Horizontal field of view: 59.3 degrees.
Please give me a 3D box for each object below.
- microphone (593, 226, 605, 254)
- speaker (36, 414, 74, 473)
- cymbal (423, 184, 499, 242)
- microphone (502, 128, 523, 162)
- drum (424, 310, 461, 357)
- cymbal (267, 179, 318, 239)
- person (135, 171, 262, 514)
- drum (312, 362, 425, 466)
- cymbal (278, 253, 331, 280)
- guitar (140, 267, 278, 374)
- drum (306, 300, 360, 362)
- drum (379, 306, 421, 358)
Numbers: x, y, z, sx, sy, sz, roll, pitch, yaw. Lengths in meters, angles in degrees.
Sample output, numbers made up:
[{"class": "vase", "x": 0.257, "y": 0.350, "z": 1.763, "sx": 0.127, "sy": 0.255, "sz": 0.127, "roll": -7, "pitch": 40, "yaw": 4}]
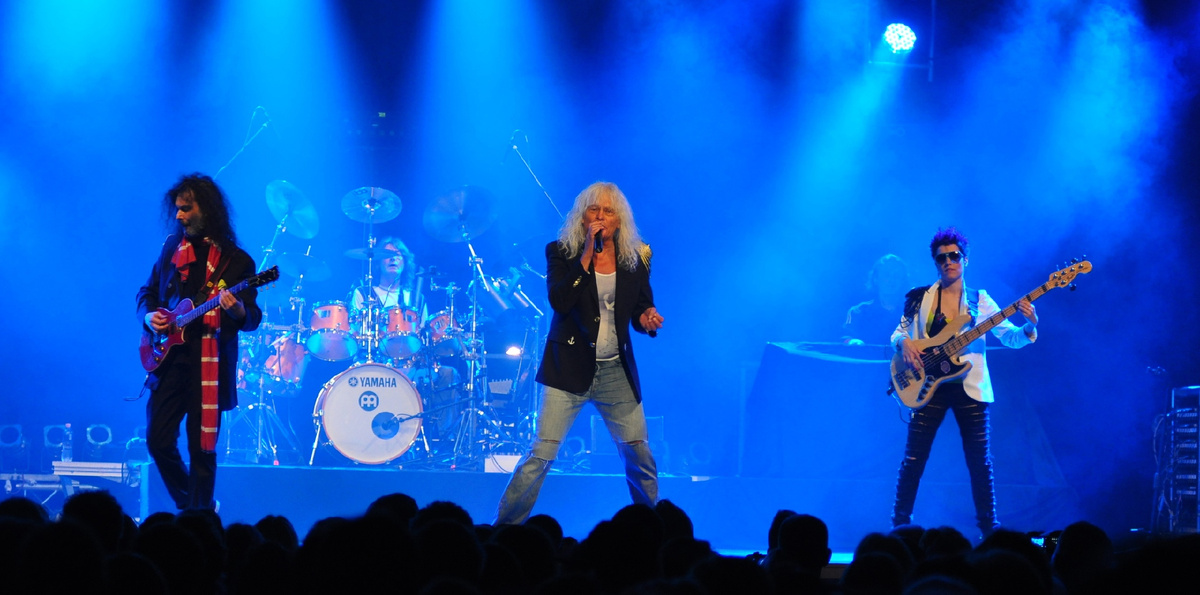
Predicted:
[{"class": "microphone", "x": -0.026, "y": -0.598, "z": 10.893, "sx": 0.099, "sy": 0.223, "sz": 0.104, "roll": 0, "pitch": -18, "yaw": -1}, {"class": "speaker", "x": -6.798, "y": 1.893, "z": 13.251, "sx": 0.368, "sy": 0.687, "sz": 0.652, "roll": 14, "pitch": -23, "yaw": -39}, {"class": "cymbal", "x": -1.917, "y": -1.131, "z": 14.319, "sx": 0.803, "sy": 0.795, "sz": 0.238, "roll": -43, "pitch": 5, "yaw": -2}, {"class": "microphone", "x": -1.198, "y": -2.146, "z": 14.714, "sx": 0.232, "sy": 0.388, "sz": 0.199, "roll": 1, "pitch": -18, "yaw": -4}, {"class": "drum", "x": -2.056, "y": 0.494, "z": 13.624, "sx": 0.590, "sy": 0.488, "sz": 0.519, "roll": -3, "pitch": -45, "yaw": -17}, {"class": "cymbal", "x": -4.321, "y": -1.208, "z": 14.594, "sx": 0.765, "sy": 0.649, "sz": 0.701, "roll": 9, "pitch": -20, "yaw": -29}, {"class": "person", "x": -4.259, "y": 0.559, "z": 11.825, "sx": 1.748, "sy": 3.855, "sz": 1.095, "roll": 1, "pitch": -3, "yaw": 4}, {"class": "drum", "x": -2.898, "y": 1.441, "z": 13.092, "sx": 1.305, "sy": 1.209, "sz": 0.506, "roll": 2, "pitch": -18, "yaw": -10}, {"class": "cymbal", "x": -4.059, "y": -0.419, "z": 14.358, "sx": 0.485, "sy": 0.420, "sz": 0.126, "roll": 16, "pitch": -40, "yaw": -8}, {"class": "guitar", "x": -4.300, "y": 0.252, "z": 11.431, "sx": 1.638, "sy": 0.577, "sz": 0.224, "roll": -27, "pitch": -35, "yaw": -4}, {"class": "drum", "x": -3.447, "y": 0.426, "z": 13.513, "sx": 0.654, "sy": 0.710, "sz": 0.339, "roll": 4, "pitch": -19, "yaw": -14}, {"class": "drum", "x": -2.564, "y": 0.418, "z": 13.504, "sx": 0.702, "sy": 0.576, "sz": 0.642, "roll": -3, "pitch": -38, "yaw": -4}]
